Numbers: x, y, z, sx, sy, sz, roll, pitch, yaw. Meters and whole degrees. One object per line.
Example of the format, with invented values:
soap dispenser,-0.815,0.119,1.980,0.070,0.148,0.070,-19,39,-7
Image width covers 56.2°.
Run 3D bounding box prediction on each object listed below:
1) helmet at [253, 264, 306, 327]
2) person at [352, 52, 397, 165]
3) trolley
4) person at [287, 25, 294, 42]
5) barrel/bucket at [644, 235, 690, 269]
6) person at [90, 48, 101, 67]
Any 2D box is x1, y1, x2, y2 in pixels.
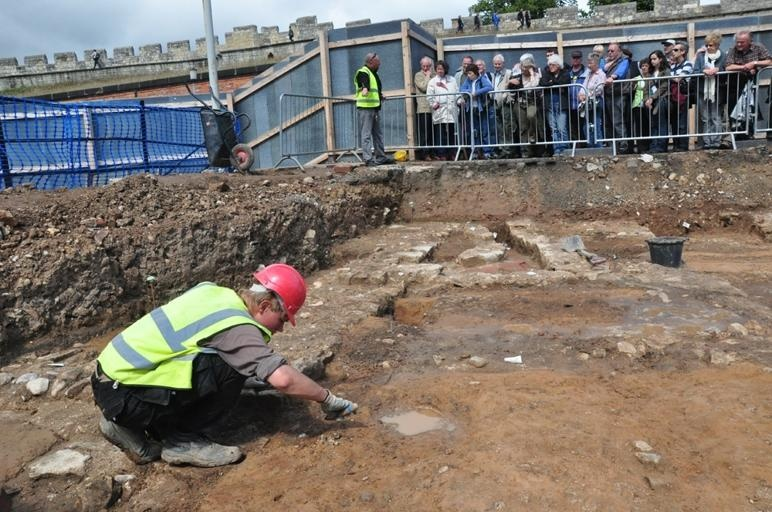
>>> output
helmet,-0.994,0.294,7.414,0.358,0.644,0.450,-44,2,18
person,-0.176,-2.812,13.513,0.673,2.194,1.530,1,28,7
trolley,-2.847,-2.117,12.983,0.775,1.245,0.547,-8,17,-14
person,-4.629,-11.011,35.711,0.228,0.726,0.536,-10,18,-20
barrel/bucket,4.051,-0.053,10.610,0.460,0.359,0.466,-3,4,0
person,-14.288,-9.753,35.820,0.504,0.835,0.442,0,17,14
